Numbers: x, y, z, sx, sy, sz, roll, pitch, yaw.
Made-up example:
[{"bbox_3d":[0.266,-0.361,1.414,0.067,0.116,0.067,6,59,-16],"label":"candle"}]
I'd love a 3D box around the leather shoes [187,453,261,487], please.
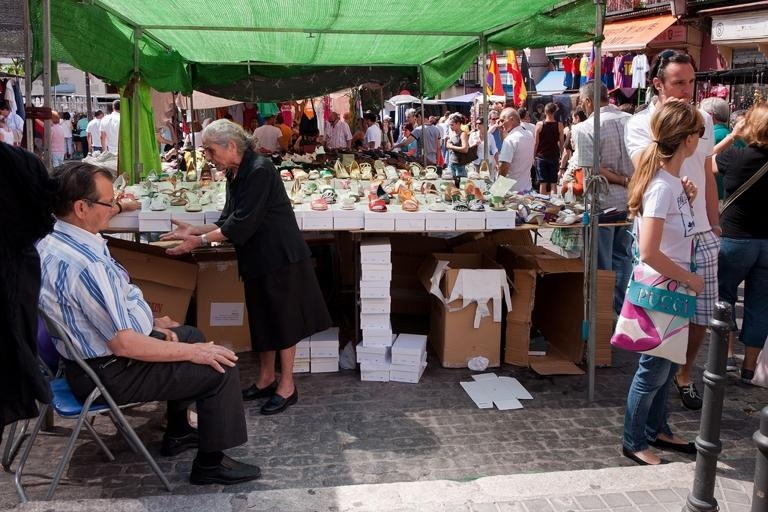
[{"bbox_3d":[-1.101,1.492,4.183,0.509,0.200,0.212,0,4,-7],"label":"leather shoes"}]

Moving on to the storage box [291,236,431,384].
[{"bbox_3d":[-0.186,0.587,6.160,1.462,1.285,0.728,0,9,2],"label":"storage box"}]

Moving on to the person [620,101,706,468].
[{"bbox_3d":[2.030,0.226,4.303,0.550,2.652,0.579,4,13,26],"label":"person"}]

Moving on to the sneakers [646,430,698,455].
[{"bbox_3d":[2.243,1.462,4.675,0.417,0.143,0.137,0,3,21],"label":"sneakers"}]

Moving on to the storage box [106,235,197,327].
[{"bbox_3d":[-2.037,0.219,5.226,0.773,0.912,0.562,12,-7,-5],"label":"storage box"}]

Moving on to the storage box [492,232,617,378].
[{"bbox_3d":[1.825,0.602,6.465,1.128,1.365,1.912,-2,9,-3],"label":"storage box"}]

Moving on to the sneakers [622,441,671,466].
[{"bbox_3d":[1.955,1.498,4.454,0.130,0.090,0.245,-2,3,-34],"label":"sneakers"}]

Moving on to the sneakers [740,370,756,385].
[{"bbox_3d":[3.426,1.150,5.612,0.062,0.051,0.172,-15,3,20],"label":"sneakers"}]

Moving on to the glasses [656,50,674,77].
[{"bbox_3d":[2.313,-1.638,5.008,0.196,0.190,0.056,-32,54,-29],"label":"glasses"}]

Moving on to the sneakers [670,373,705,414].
[{"bbox_3d":[2.695,1.237,5.305,0.161,0.377,0.141,-13,-35,5],"label":"sneakers"}]

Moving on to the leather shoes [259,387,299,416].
[{"bbox_3d":[-0.916,1.279,5.210,0.137,0.110,0.301,4,9,35],"label":"leather shoes"}]

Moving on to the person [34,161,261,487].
[{"bbox_3d":[-1.721,0.558,4.313,1.460,2.258,1.139,-3,9,-43],"label":"person"}]
